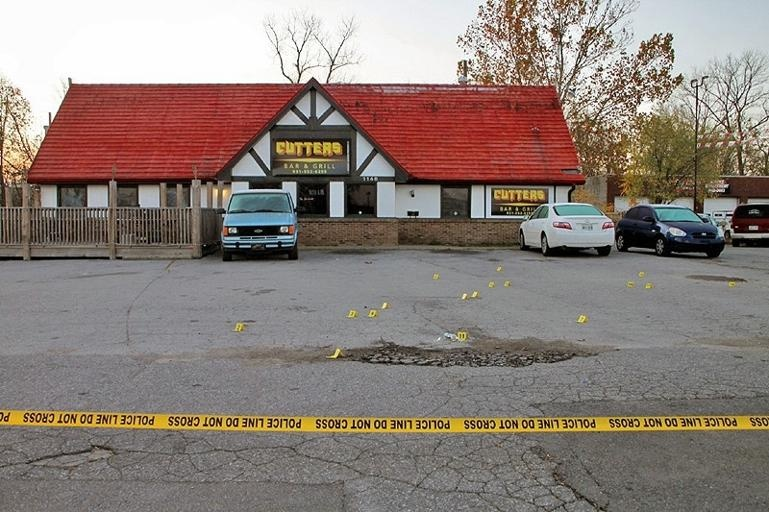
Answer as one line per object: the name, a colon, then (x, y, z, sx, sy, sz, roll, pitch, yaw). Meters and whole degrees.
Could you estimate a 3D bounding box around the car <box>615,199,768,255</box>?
car: (9.489, -0.883, 23.570, 1.705, 1.409, 3.507, 0, 0, -3)

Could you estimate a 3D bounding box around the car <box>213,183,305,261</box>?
car: (-3.783, -0.938, 21.102, 2.182, 2.017, 1.987, 0, 8, -5)
